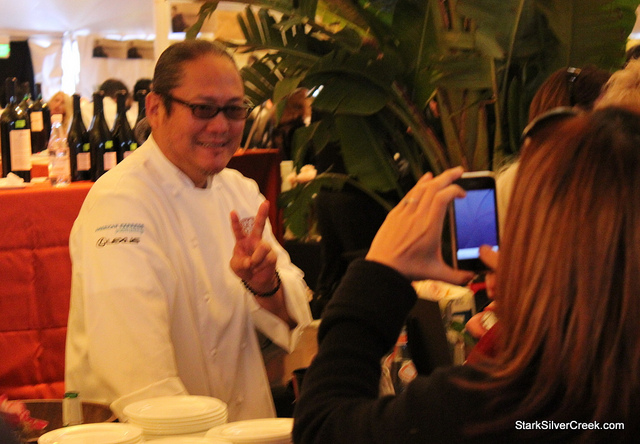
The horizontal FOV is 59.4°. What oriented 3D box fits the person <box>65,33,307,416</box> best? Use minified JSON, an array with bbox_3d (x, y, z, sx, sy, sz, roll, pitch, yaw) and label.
[{"bbox_3d":[-0.489,-0.003,2.286,0.621,1.796,1.042,0,2,29],"label":"person"}]
